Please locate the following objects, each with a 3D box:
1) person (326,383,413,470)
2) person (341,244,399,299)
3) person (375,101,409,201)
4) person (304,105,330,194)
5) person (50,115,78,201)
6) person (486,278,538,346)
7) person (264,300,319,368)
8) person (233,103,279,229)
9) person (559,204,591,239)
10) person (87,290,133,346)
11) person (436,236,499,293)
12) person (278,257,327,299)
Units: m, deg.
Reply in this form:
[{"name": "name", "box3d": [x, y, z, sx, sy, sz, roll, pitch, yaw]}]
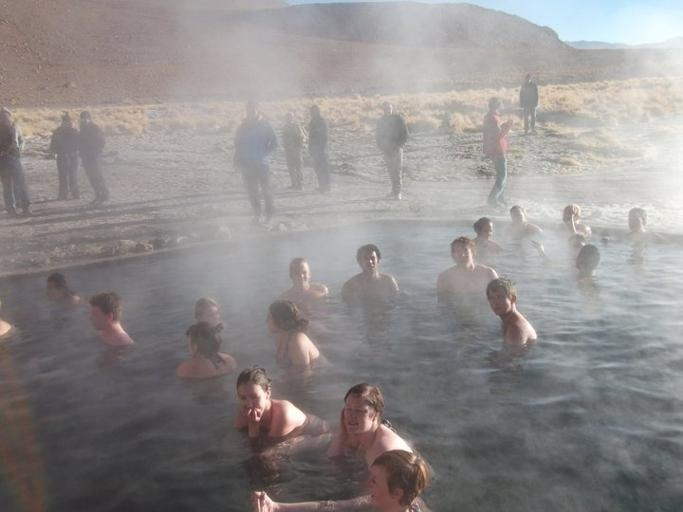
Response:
[{"name": "person", "box3d": [0.283, 1.535, 5.246, 0.859, 0.657, 0.564, 3, -10, 29]}, {"name": "person", "box3d": [0.445, 0.245, 8.878, 0.899, 0.860, 0.446, -2, -2, 0]}, {"name": "person", "box3d": [1.354, -2.743, 15.284, 0.817, 2.585, 1.055, -3, 13, 4]}, {"name": "person", "box3d": [-0.649, -3.037, 16.546, 0.552, 2.402, 0.471, -5, 13, -2]}, {"name": "person", "box3d": [-7.757, -2.800, 16.349, 0.784, 2.376, 1.301, -10, 14, -24]}, {"name": "person", "box3d": [2.130, 0.659, 7.192, 0.583, 0.810, 0.441, 0, 13, 18]}, {"name": "person", "box3d": [-0.546, 0.940, 7.092, 0.609, 0.844, 0.578, 3, 11, 39]}, {"name": "person", "box3d": [-1.836, -2.000, 12.594, 0.946, 2.596, 0.456, -7, 13, -11]}, {"name": "person", "box3d": [4.479, -0.653, 10.972, 0.495, 0.669, 1.190, 1, 13, 23]}, {"name": "person", "box3d": [-3.066, 0.822, 7.643, 0.457, 0.687, 0.764, -6, 10, -44]}, {"name": "person", "box3d": [1.870, 0.116, 8.724, 0.857, 0.822, 0.290, -3, 13, 6]}, {"name": "person", "box3d": [-0.569, 0.405, 8.725, 0.772, 0.688, 0.405, -7, 4, -12]}]
